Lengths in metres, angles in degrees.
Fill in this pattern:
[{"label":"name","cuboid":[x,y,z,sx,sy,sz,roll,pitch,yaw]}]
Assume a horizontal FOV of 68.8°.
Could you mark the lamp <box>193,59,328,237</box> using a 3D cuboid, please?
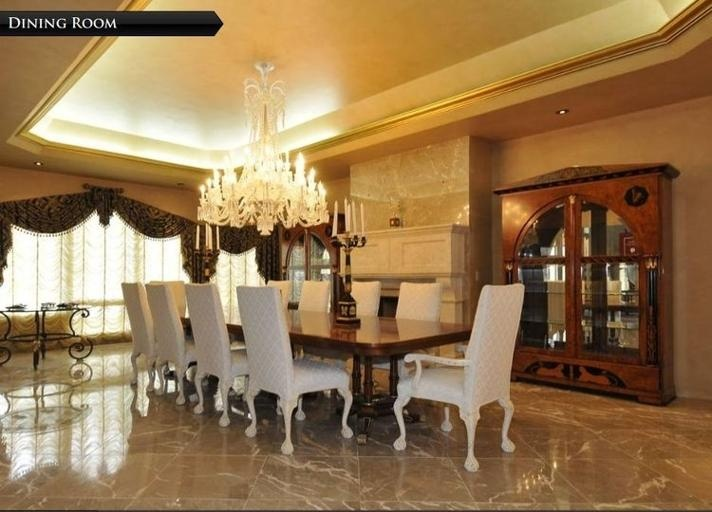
[{"label":"lamp","cuboid":[-1.099,-1.232,6.491,1.829,2.530,1.883,0,-4,-5]}]
